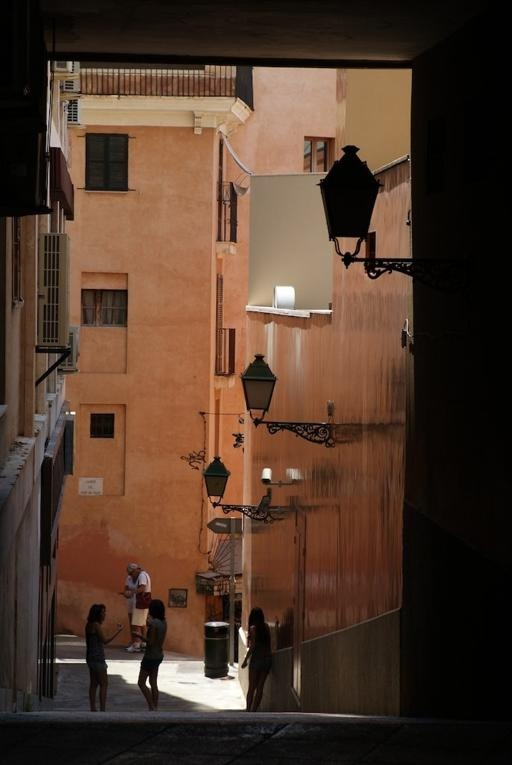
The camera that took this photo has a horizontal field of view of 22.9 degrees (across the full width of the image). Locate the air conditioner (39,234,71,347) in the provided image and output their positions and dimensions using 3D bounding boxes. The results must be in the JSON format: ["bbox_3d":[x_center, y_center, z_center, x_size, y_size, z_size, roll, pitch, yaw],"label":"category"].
[{"bbox_3d":[-1.746,-0.757,10.714,0.259,0.765,0.388,2,1,-13],"label":"air conditioner"}]

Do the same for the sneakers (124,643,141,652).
[{"bbox_3d":[-2.030,4.326,20.480,0.243,0.189,0.111,2,0,6],"label":"sneakers"}]

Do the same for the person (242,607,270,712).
[{"bbox_3d":[0.005,3.144,14.412,0.336,1.051,1.022,2,1,1],"label":"person"}]

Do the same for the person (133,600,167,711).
[{"bbox_3d":[-1.090,2.802,12.986,0.257,0.960,1.084,2,1,-6],"label":"person"}]

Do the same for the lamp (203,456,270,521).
[{"bbox_3d":[-0.316,1.613,18.536,0.914,1.594,0.432,2,-5,-7],"label":"lamp"}]

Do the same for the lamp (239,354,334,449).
[{"bbox_3d":[0.353,0.207,13.069,0.696,1.377,0.344,2,-6,-13],"label":"lamp"}]

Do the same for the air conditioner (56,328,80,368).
[{"bbox_3d":[-1.941,-0.328,12.832,0.145,0.445,0.343,1,3,0],"label":"air conditioner"}]

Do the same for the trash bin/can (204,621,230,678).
[{"bbox_3d":[-0.591,3.954,18.581,0.359,0.702,0.597,2,1,-2],"label":"trash bin/can"}]
